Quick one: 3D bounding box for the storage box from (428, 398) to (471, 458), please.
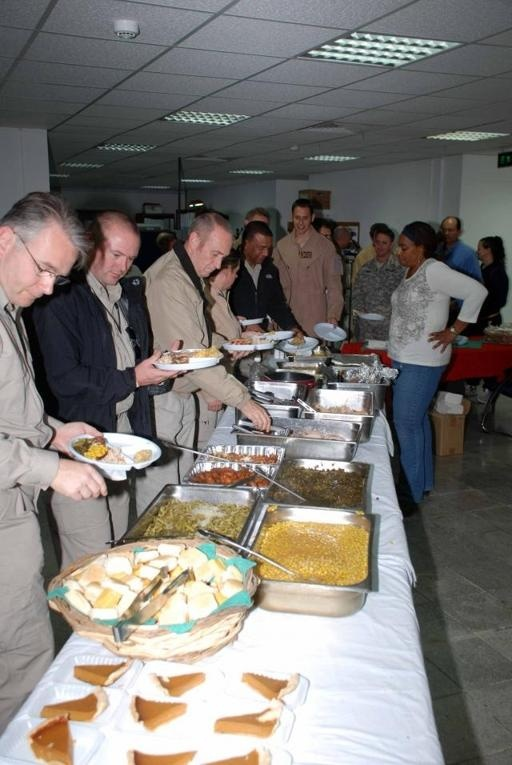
[{"bbox_3d":[1.729,0.412,5.202,0.397,0.569,0.437,1,8,4],"label":"storage box"}]

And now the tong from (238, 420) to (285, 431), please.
[{"bbox_3d":[0.017,0.198,2.535,0.120,0.022,0.080,11,18,16],"label":"tong"}]

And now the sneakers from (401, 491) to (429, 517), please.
[{"bbox_3d":[1.114,0.836,3.965,0.111,0.129,0.321,-4,10,14],"label":"sneakers"}]

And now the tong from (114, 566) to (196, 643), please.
[{"bbox_3d":[-0.169,0.361,0.943,0.036,0.030,0.132,4,18,15],"label":"tong"}]

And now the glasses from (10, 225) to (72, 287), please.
[{"bbox_3d":[-0.517,-0.307,1.379,0.029,0.105,0.101,-32,-4,-2],"label":"glasses"}]
